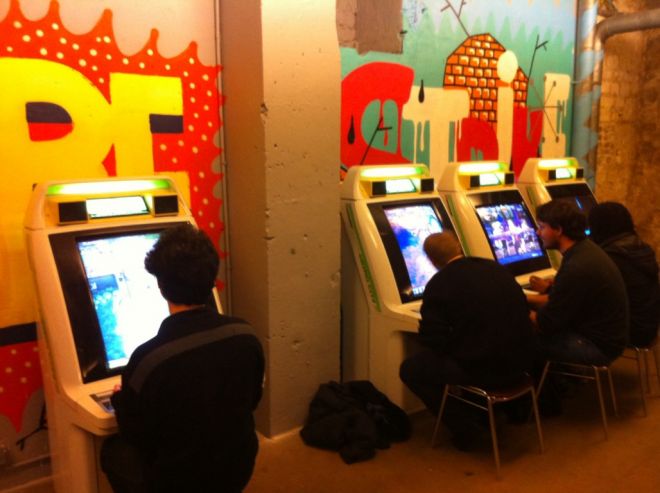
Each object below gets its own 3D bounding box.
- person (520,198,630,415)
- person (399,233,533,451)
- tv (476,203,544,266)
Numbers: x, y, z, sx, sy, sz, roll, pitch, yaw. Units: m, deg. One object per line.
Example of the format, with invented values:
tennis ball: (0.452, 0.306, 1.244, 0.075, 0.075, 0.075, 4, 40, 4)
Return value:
person: (1.694, 0.439, 3.825, 0.654, 1.502, 0.626, -4, 10, 28)
person: (0.844, 0.631, 3.481, 0.839, 1.439, 0.358, -6, 9, 19)
tv: (1.428, -0.082, 4.428, 0.434, 0.362, 0.231, -12, -13, -47)
